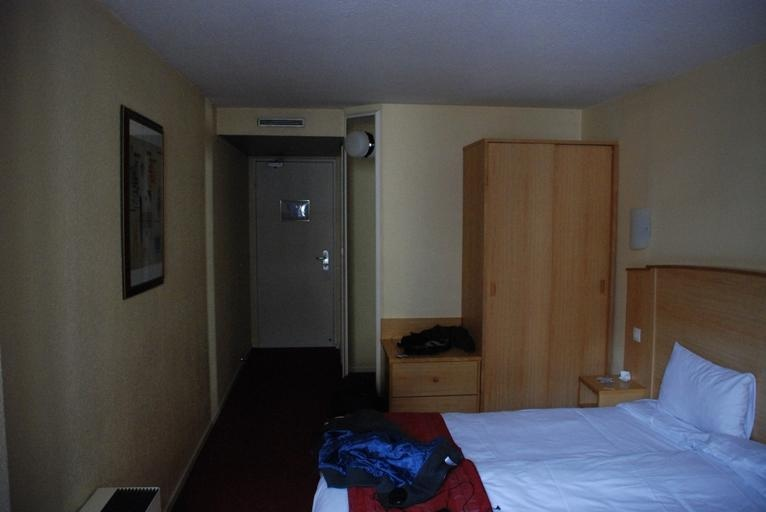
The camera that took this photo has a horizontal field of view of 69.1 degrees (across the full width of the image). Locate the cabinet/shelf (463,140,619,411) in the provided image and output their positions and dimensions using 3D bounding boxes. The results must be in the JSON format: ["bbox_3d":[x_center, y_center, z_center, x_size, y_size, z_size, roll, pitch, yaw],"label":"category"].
[{"bbox_3d":[1.420,0.224,4.989,1.074,2.377,0.619,-2,25,10],"label":"cabinet/shelf"}]

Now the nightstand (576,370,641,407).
[{"bbox_3d":[1.793,1.140,4.469,0.455,0.296,0.260,-4,-9,19],"label":"nightstand"}]

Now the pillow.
[{"bbox_3d":[2.118,0.915,3.672,0.243,0.473,0.656,-6,14,-18],"label":"pillow"}]

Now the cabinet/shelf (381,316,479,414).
[{"bbox_3d":[0.396,0.887,4.895,0.765,0.731,0.756,-1,0,-6],"label":"cabinet/shelf"}]

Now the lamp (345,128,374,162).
[{"bbox_3d":[-0.210,-1.059,5.185,0.264,0.244,0.219,-2,14,-6],"label":"lamp"}]
